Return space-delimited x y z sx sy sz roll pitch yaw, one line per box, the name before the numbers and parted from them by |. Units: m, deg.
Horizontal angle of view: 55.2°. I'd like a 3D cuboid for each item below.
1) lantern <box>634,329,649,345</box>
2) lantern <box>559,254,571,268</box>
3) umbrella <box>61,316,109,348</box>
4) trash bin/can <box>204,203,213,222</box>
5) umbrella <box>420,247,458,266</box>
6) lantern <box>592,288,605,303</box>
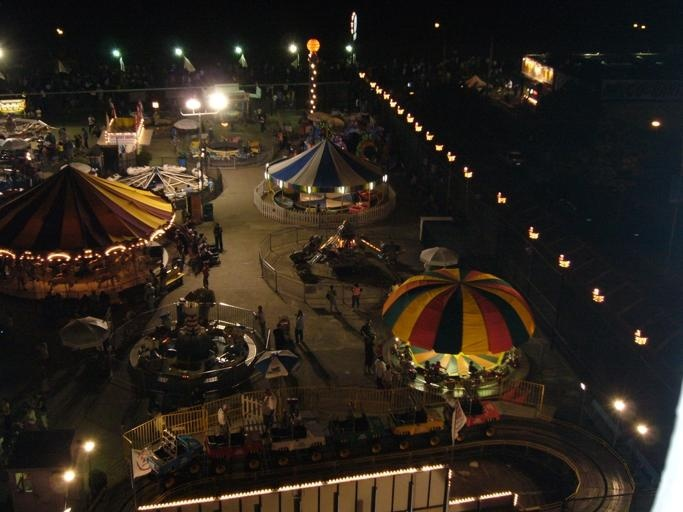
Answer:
lantern | 12.653 3.404 27.718 0.519 0.278 0.761 -3 22 3
lantern | 10.704 0.261 31.544 0.618 0.336 0.708 -2 17 1
umbrella | -11.393 3.659 29.056 1.980 1.463 1.268 -8 22 -26
trash bin/can | -9.004 -2.982 43.966 0.617 1.166 0.385 -3 19 -16
umbrella | 5.246 0.188 35.287 1.829 1.113 1.304 4 20 4
lantern | 11.477 1.711 29.361 0.555 0.313 0.749 -2 15 1
